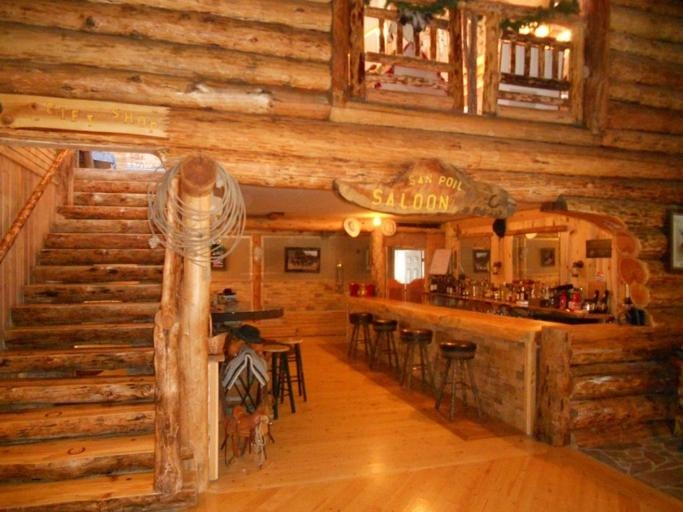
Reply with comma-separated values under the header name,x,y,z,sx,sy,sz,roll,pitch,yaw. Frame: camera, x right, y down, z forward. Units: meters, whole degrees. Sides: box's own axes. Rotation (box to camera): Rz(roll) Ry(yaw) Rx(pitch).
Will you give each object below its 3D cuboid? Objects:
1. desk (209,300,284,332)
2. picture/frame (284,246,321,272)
name,x,y,z,sx,sy,sz,roll,pitch,yaw
desk,-1.178,0.774,6.621,0.889,0.287,1.235,-1,4,-13
picture/frame,-1.049,0.101,13.475,0.779,0.462,0.027,1,-3,-19
